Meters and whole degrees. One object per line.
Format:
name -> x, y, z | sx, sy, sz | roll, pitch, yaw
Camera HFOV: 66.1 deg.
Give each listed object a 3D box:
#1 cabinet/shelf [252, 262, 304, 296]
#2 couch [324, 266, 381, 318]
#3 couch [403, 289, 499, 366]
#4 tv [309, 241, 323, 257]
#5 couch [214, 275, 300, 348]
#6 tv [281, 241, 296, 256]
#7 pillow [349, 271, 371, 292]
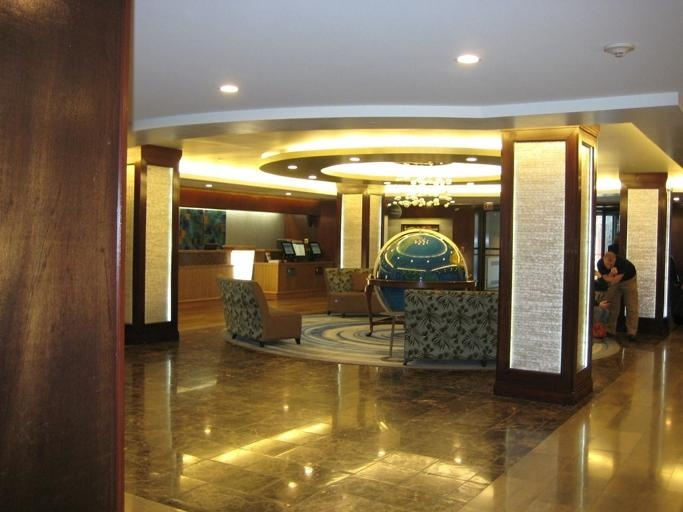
cabinet/shelf -> -1.833, 0.610, 15.271 | 0.918, 1.091, 1.286 | -1, 0, 38
couch -> 0.254, 0.791, 11.828 | 1.357, 1.042, 1.052 | 1, -10, -4
couch -> 1.317, 1.056, 7.796 | 1.593, 0.977, 1.528 | 5, -8, -30
tv -> -0.843, -0.205, 16.694 | 0.234, 0.436, 0.438 | -28, -13, 20
couch -> -1.367, 0.912, 8.869 | 0.948, 1.064, 1.162 | 0, 2, -34
tv -> -1.554, -0.214, 15.637 | 0.438, 0.449, 0.318 | 0, 2, -34
pillow -> 0.379, 0.571, 11.443 | 0.500, 0.481, 0.177 | 5, -20, 5
